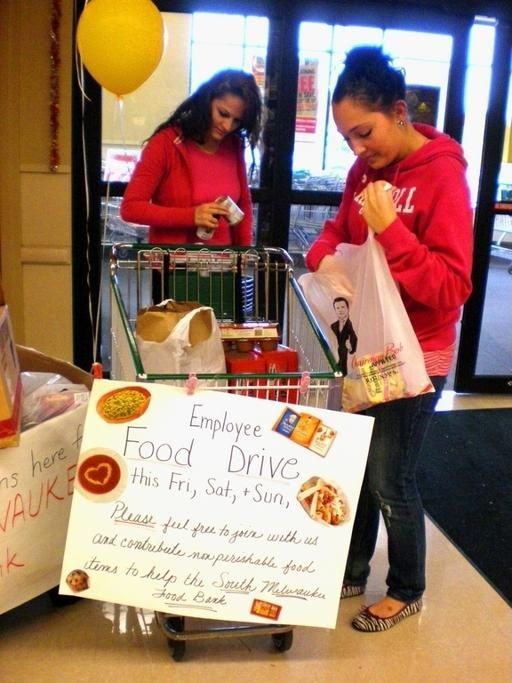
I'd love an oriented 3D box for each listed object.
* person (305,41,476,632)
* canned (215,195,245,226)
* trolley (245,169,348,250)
[{"bbox_3d":[0.335,0.091,1.448,0.447,1.553,0.534,4,9,4],"label":"person"},{"bbox_3d":[-0.090,-0.446,1.875,0.090,0.086,0.076,-1,10,-29],"label":"canned"},{"bbox_3d":[0.271,-0.792,3.640,0.374,0.652,0.629,9,-6,6],"label":"trolley"}]
